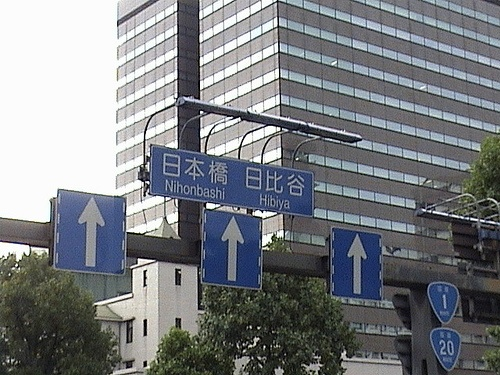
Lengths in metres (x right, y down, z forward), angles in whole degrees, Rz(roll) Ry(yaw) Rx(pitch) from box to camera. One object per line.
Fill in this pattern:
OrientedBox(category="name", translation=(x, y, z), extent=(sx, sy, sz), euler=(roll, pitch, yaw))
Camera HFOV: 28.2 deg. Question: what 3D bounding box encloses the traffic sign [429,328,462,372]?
OrientedBox(category="traffic sign", translation=(9.919, 8.154, 50.659), extent=(1.647, 2.216, 0.590), euler=(9, -21, -24))
